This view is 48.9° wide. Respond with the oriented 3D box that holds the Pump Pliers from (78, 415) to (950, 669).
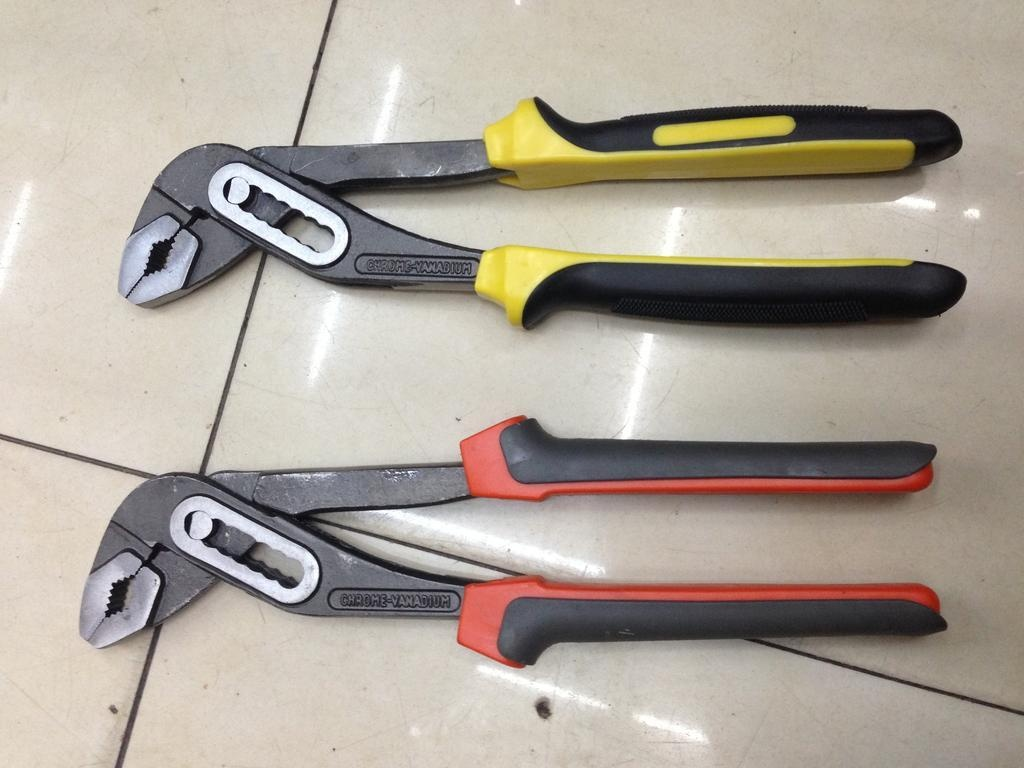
[{"bbox_3d":[-0.008,0.239,1.722,1.273,0.106,0.366,-1,85,6],"label":"Pump Pliers"}]
